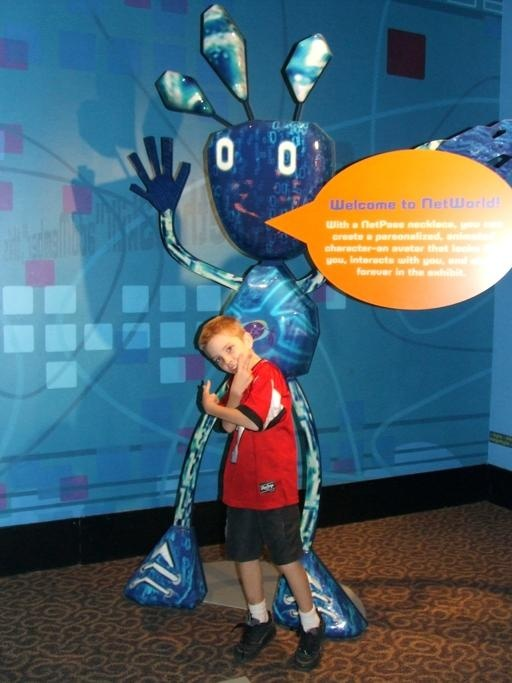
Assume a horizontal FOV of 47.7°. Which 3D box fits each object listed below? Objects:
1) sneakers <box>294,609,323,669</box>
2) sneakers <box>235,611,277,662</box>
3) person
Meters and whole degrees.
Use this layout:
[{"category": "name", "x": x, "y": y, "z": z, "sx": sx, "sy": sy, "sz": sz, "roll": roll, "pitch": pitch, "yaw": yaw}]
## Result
[{"category": "sneakers", "x": 0.149, "y": 0.760, "z": 1.520, "sx": 0.063, "sy": 0.153, "sz": 0.069, "roll": 0, "pitch": -19, "yaw": 22}, {"category": "sneakers", "x": -0.016, "y": 0.786, "z": 1.557, "sx": 0.058, "sy": 0.078, "sz": 0.150, "roll": 14, "pitch": 26, "yaw": 19}, {"category": "person", "x": 0.017, "y": 0.387, "z": 1.527, "sx": 0.330, "sy": 0.907, "sz": 0.251, "roll": 0, "pitch": 3, "yaw": -6}]
